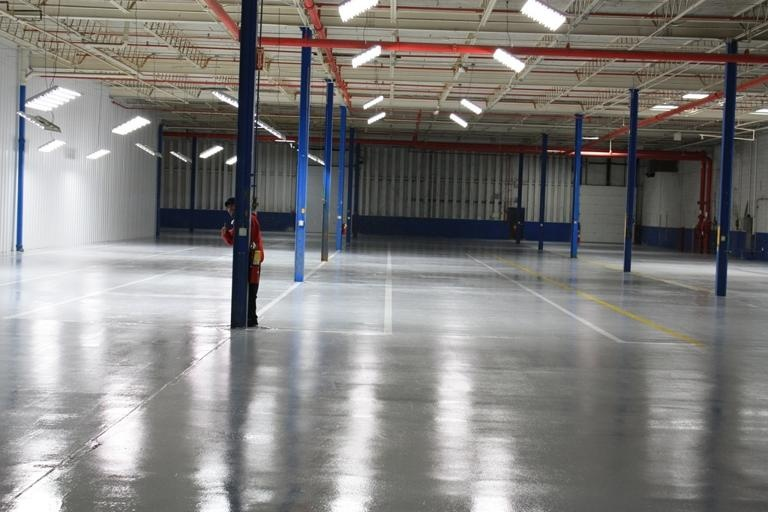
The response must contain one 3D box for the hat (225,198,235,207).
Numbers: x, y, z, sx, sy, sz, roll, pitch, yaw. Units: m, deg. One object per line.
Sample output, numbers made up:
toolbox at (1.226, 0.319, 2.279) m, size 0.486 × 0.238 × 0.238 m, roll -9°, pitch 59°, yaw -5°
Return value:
hat at (-2.876, -1.011, 11.561) m, size 0.229 × 0.201 × 0.169 m, roll -3°, pitch 8°, yaw -14°
